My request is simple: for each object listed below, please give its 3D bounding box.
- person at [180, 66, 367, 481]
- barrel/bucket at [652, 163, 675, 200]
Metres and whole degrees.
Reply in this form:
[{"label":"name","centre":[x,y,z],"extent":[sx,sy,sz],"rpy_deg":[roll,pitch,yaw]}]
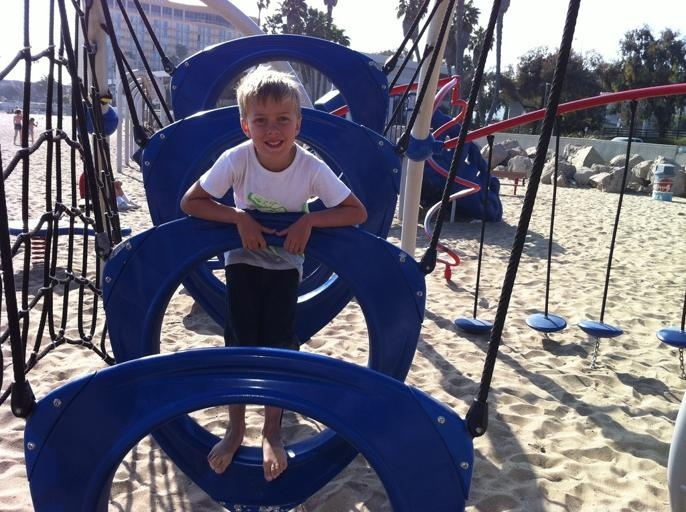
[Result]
[{"label":"person","centre":[-0.322,0.052,2.761],"extent":[0.752,1.699,0.573],"rpy_deg":[4,9,1]},{"label":"barrel/bucket","centre":[6.173,-1.429,12.409],"extent":[0.370,0.699,0.809],"rpy_deg":[8,10,26]}]
